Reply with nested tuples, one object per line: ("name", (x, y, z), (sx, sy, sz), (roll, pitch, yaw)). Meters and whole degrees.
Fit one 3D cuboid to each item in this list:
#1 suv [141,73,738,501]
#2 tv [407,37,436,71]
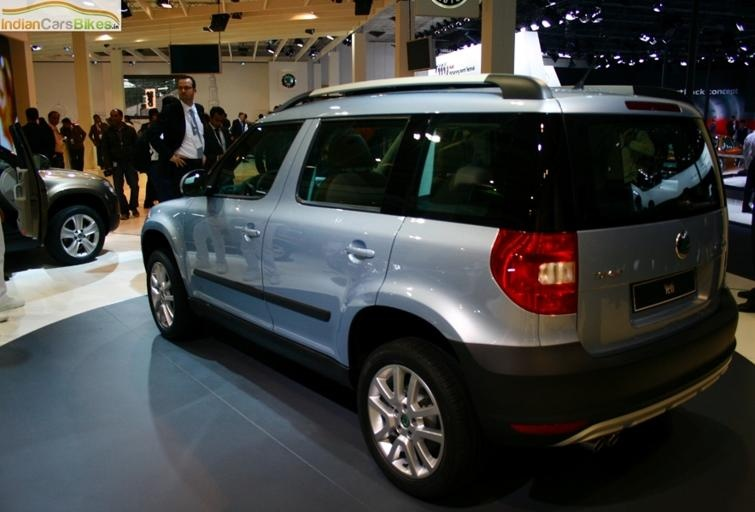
("suv", (0.238, 0.043, 2.778), (3.100, 2.109, 1.186), (9, 17, 35))
("tv", (0.746, -3.465, 8.002), (0.612, 0.476, 0.268), (12, 19, 42))
